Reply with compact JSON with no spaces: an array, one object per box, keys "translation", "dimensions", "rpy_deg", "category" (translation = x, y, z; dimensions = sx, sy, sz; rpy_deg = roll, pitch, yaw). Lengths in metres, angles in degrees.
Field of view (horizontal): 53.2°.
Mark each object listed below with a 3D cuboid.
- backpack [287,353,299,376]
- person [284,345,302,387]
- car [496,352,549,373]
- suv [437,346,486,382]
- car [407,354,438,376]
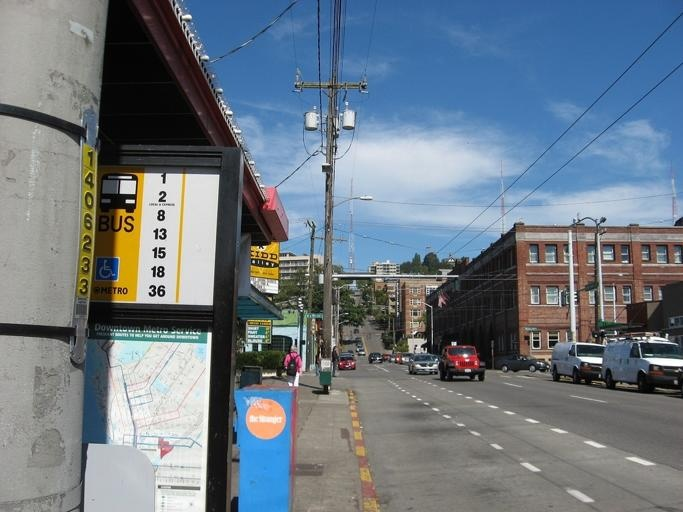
[{"translation":[-1.316,2.992,18.787],"dimensions":[0.302,0.477,0.449],"rpy_deg":[1,-10,2],"category":"backpack"},{"translation":[-1.334,3.096,19.072],"dimensions":[0.466,1.209,0.613],"rpy_deg":[13,16,28],"category":"person"},{"translation":[14.539,8.426,53.939],"dimensions":[2.113,1.349,4.327],"rpy_deg":[3,-9,-14],"category":"car"},{"translation":[6.068,5.521,35.296],"dimensions":[1.341,1.299,2.594],"rpy_deg":[1,-18,-3],"category":"suv"},{"translation":[5.667,7.289,46.385],"dimensions":[1.842,1.365,2.322],"rpy_deg":[0,-8,5],"category":"car"}]
